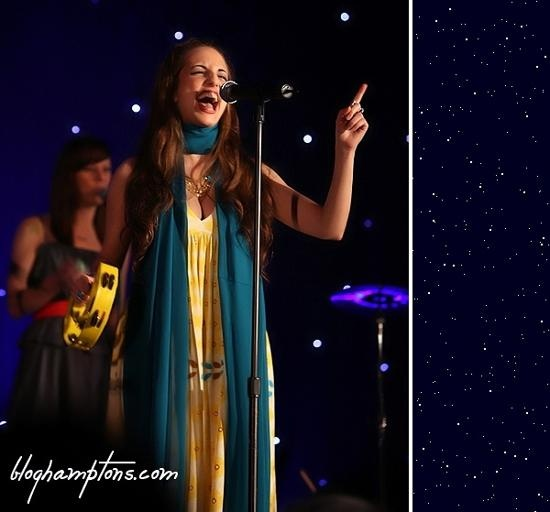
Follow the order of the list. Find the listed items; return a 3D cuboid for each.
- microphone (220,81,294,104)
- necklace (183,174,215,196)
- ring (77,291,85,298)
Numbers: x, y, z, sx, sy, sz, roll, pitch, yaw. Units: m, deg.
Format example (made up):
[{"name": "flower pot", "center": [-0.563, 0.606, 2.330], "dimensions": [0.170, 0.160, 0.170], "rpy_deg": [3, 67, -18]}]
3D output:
[{"name": "microphone", "center": [-0.048, -0.429, 1.870], "dimensions": [0.198, 0.049, 0.080], "rpy_deg": [0, 11, 1]}, {"name": "necklace", "center": [-0.233, -0.217, 2.209], "dimensions": [0.066, 0.067, 0.023], "rpy_deg": [0, -9, -16]}, {"name": "ring", "center": [-0.583, 0.113, 2.159], "dimensions": [0.018, 0.024, 0.005], "rpy_deg": [14, 10, 23]}]
